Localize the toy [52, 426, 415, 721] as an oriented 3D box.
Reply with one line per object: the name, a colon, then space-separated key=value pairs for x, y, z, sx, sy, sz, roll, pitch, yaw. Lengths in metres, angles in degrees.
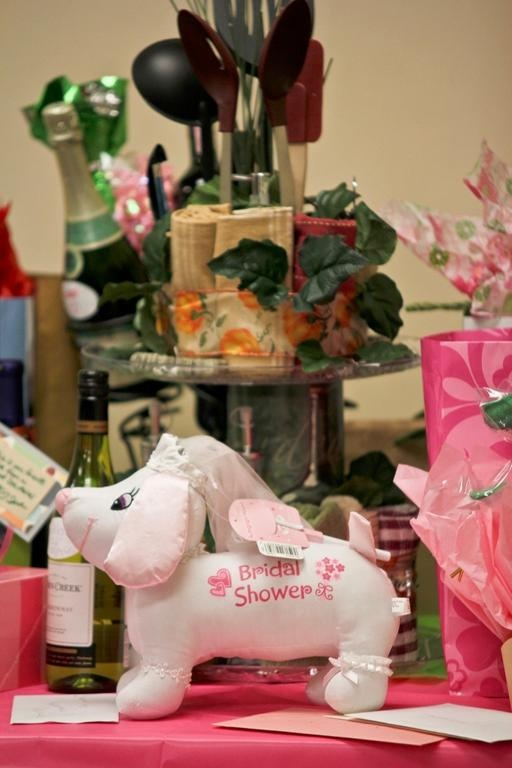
toy: x=-0.009 y=0.126 z=0.494 sx=0.288 sy=0.208 sz=0.138 roll=0 pitch=-16 yaw=0

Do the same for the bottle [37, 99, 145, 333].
bottle: x=-0.202 y=-0.196 z=0.867 sx=0.088 sy=0.234 sz=0.192 roll=-19 pitch=26 yaw=-32
